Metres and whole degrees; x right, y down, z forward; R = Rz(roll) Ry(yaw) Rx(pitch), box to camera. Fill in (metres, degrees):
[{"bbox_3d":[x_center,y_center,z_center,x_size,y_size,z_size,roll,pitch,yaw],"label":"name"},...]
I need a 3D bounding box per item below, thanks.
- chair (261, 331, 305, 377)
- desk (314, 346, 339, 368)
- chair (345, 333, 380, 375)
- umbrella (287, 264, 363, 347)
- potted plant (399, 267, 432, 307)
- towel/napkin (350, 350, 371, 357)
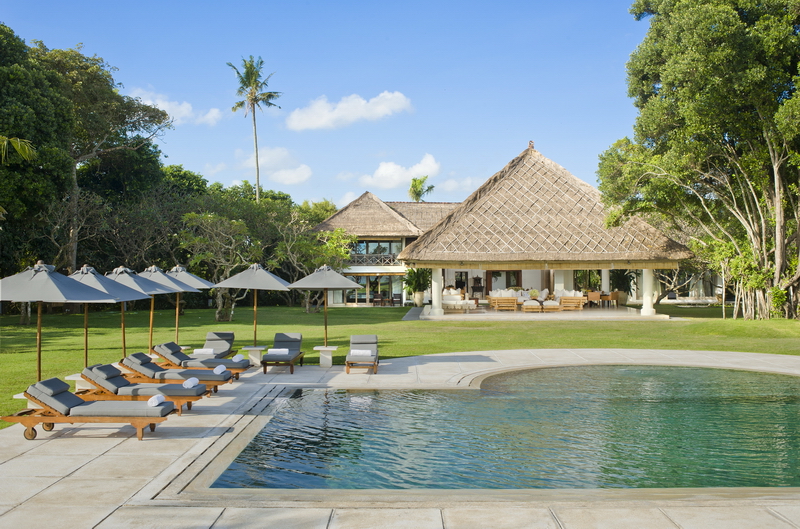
[{"bbox_3d":[-4.076,2.986,22.135,1.165,1.144,1.971,0,-1,2],"label":"chair"},{"bbox_3d":[-2.631,3.180,22.562,0.870,0.695,0.843,-1,-4,0],"label":"desk"},{"bbox_3d":[-1.298,2.922,21.753,1.106,0.989,1.634,0,6,-3],"label":"chair"},{"bbox_3d":[-2.858,1.437,24.364,2.876,3.024,2.695,-4,7,-42],"label":"umbrella"},{"bbox_3d":[1.537,1.737,55.652,3.105,3.359,2.991,0,-5,-1],"label":"potted plant"},{"bbox_3d":[-1.336,2.931,21.457,0.722,0.034,0.609,0,10,-6],"label":"towel/napkin"}]
